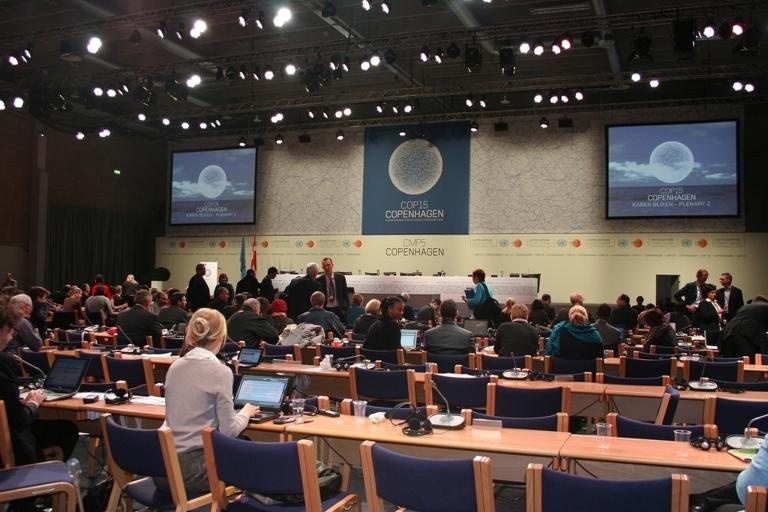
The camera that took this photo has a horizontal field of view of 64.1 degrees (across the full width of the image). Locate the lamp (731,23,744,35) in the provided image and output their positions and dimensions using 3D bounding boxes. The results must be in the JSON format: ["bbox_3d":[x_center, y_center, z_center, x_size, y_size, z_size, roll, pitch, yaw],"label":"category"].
[{"bbox_3d":[6.963,-4.410,12.059,0.208,0.256,0.223,0,-2,32],"label":"lamp"}]

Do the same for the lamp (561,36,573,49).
[{"bbox_3d":[3.812,-4.408,12.821,0.199,0.163,0.298,0,-2,24],"label":"lamp"}]

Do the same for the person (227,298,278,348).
[{"bbox_3d":[-2.112,1.087,9.920,0.632,0.881,0.461,4,5,11],"label":"person"}]

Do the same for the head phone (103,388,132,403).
[{"bbox_3d":[-2.771,1.417,6.419,0.157,0.072,0.196,4,3,17],"label":"head phone"}]

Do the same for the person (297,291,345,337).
[{"bbox_3d":[-1.022,0.980,10.462,0.715,0.769,0.639,2,-2,-25],"label":"person"}]

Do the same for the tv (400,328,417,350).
[{"bbox_3d":[0.420,1.340,9.993,0.287,0.207,0.263,3,-5,1],"label":"tv"}]

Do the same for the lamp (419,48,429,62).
[{"bbox_3d":[0.921,-4.520,13.947,0.209,0.300,0.086,-6,8,-11],"label":"lamp"}]

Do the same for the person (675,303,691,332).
[{"bbox_3d":[6.383,1.292,13.101,0.275,0.572,1.007,0,-2,26],"label":"person"}]

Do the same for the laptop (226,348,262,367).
[{"bbox_3d":[-1.835,1.353,8.286,0.282,0.175,0.250,-1,-13,18],"label":"laptop"}]

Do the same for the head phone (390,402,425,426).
[{"bbox_3d":[0.216,1.486,5.840,0.269,0.143,0.193,-1,-5,4],"label":"head phone"}]

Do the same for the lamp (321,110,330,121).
[{"bbox_3d":[-2.041,-4.896,21.579,0.272,0.124,0.373,2,-3,4],"label":"lamp"}]

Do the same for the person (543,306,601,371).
[{"bbox_3d":[2.782,1.310,8.851,0.782,1.218,0.668,-2,25,3],"label":"person"}]

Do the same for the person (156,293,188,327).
[{"bbox_3d":[-4.197,1.129,12.492,0.623,0.781,0.439,12,18,40],"label":"person"}]

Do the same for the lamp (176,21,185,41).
[{"bbox_3d":[-4.406,-4.897,13.324,0.166,0.401,0.588,1,-2,-16],"label":"lamp"}]

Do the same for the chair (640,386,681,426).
[{"bbox_3d":[2.891,1.522,6.424,0.361,0.597,0.341,-3,-5,38],"label":"chair"}]

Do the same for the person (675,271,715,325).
[{"bbox_3d":[7.260,1.239,14.338,0.769,1.877,0.530,-3,16,8],"label":"person"}]

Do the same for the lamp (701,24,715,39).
[{"bbox_3d":[6.332,-4.364,11.946,0.197,0.284,0.320,0,-2,33],"label":"lamp"}]

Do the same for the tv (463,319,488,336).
[{"bbox_3d":[1.761,1.329,11.497,0.381,0.263,0.279,3,-18,21],"label":"tv"}]

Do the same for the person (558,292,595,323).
[{"bbox_3d":[4.231,1.072,13.267,0.810,0.686,0.406,0,9,29],"label":"person"}]

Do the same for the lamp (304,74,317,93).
[{"bbox_3d":[-1.682,-4.176,14.960,0.383,0.362,0.093,-1,4,20],"label":"lamp"}]

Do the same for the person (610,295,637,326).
[{"bbox_3d":[5.322,1.242,13.666,0.436,0.782,0.567,8,3,34],"label":"person"}]

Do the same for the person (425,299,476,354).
[{"bbox_3d":[0.962,1.140,8.997,0.778,1.014,0.552,-1,5,-6],"label":"person"}]

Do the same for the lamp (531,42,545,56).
[{"bbox_3d":[3.378,-4.500,13.363,0.192,0.270,0.413,1,-2,6],"label":"lamp"}]

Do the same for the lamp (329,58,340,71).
[{"bbox_3d":[-1.159,-4.457,14.380,0.237,0.215,0.186,0,-2,16],"label":"lamp"}]

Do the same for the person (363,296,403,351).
[{"bbox_3d":[-0.018,0.977,9.153,0.572,0.754,0.370,1,-1,-2],"label":"person"}]

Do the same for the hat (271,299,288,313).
[{"bbox_3d":[-1.936,0.899,11.331,0.223,0.214,0.327,0,2,-16],"label":"hat"}]

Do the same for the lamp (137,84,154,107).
[{"bbox_3d":[-6.321,-4.276,16.193,0.468,0.481,0.400,2,-2,-23],"label":"lamp"}]

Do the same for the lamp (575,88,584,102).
[{"bbox_3d":[5.225,-4.275,16.355,0.178,0.226,0.428,1,-2,2],"label":"lamp"}]

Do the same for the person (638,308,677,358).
[{"bbox_3d":[4.372,1.297,9.763,0.485,0.918,0.565,-13,3,-32],"label":"person"}]

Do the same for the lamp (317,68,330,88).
[{"bbox_3d":[-1.471,-4.323,14.910,0.311,0.316,0.570,2,16,-9],"label":"lamp"}]

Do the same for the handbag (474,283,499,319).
[{"bbox_3d":[2.194,0.970,13.231,0.543,0.852,0.449,-9,-11,-1],"label":"handbag"}]

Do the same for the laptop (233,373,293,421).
[{"bbox_3d":[-1.229,1.380,6.170,0.492,0.398,0.306,3,-3,17],"label":"laptop"}]
